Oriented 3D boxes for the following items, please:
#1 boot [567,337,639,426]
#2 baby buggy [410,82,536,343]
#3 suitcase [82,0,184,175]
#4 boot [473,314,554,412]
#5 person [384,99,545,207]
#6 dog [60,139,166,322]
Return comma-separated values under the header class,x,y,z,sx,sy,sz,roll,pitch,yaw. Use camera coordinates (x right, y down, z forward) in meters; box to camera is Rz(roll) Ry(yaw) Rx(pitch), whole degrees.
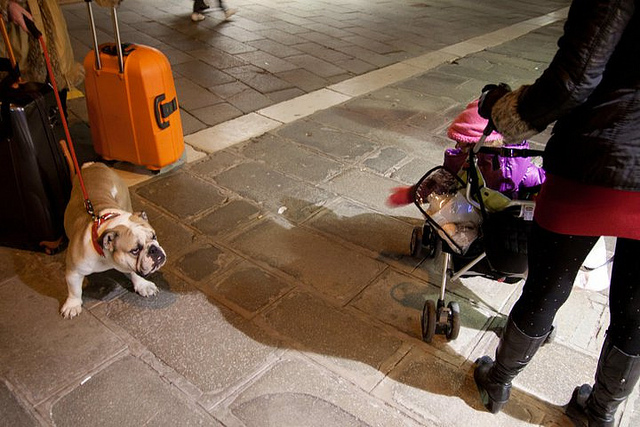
class,x,y,z,sx,sy,sz,roll,pitch,yaw
boot,1.716,1.044,2.706,0.160,0.710,0.278,-7,41,-12
baby buggy,1.089,0.027,3.047,0.614,1.767,0.907,3,40,0
suitcase,-1.920,-1.211,4.566,0.898,1.515,0.587,13,41,12
boot,1.158,0.957,2.833,0.212,0.683,0.270,28,46,27
person,1.066,-0.374,3.237,0.687,0.614,1.227,-19,19,-41
dog,-1.662,0.148,3.446,0.786,0.893,1.071,-13,41,-19
